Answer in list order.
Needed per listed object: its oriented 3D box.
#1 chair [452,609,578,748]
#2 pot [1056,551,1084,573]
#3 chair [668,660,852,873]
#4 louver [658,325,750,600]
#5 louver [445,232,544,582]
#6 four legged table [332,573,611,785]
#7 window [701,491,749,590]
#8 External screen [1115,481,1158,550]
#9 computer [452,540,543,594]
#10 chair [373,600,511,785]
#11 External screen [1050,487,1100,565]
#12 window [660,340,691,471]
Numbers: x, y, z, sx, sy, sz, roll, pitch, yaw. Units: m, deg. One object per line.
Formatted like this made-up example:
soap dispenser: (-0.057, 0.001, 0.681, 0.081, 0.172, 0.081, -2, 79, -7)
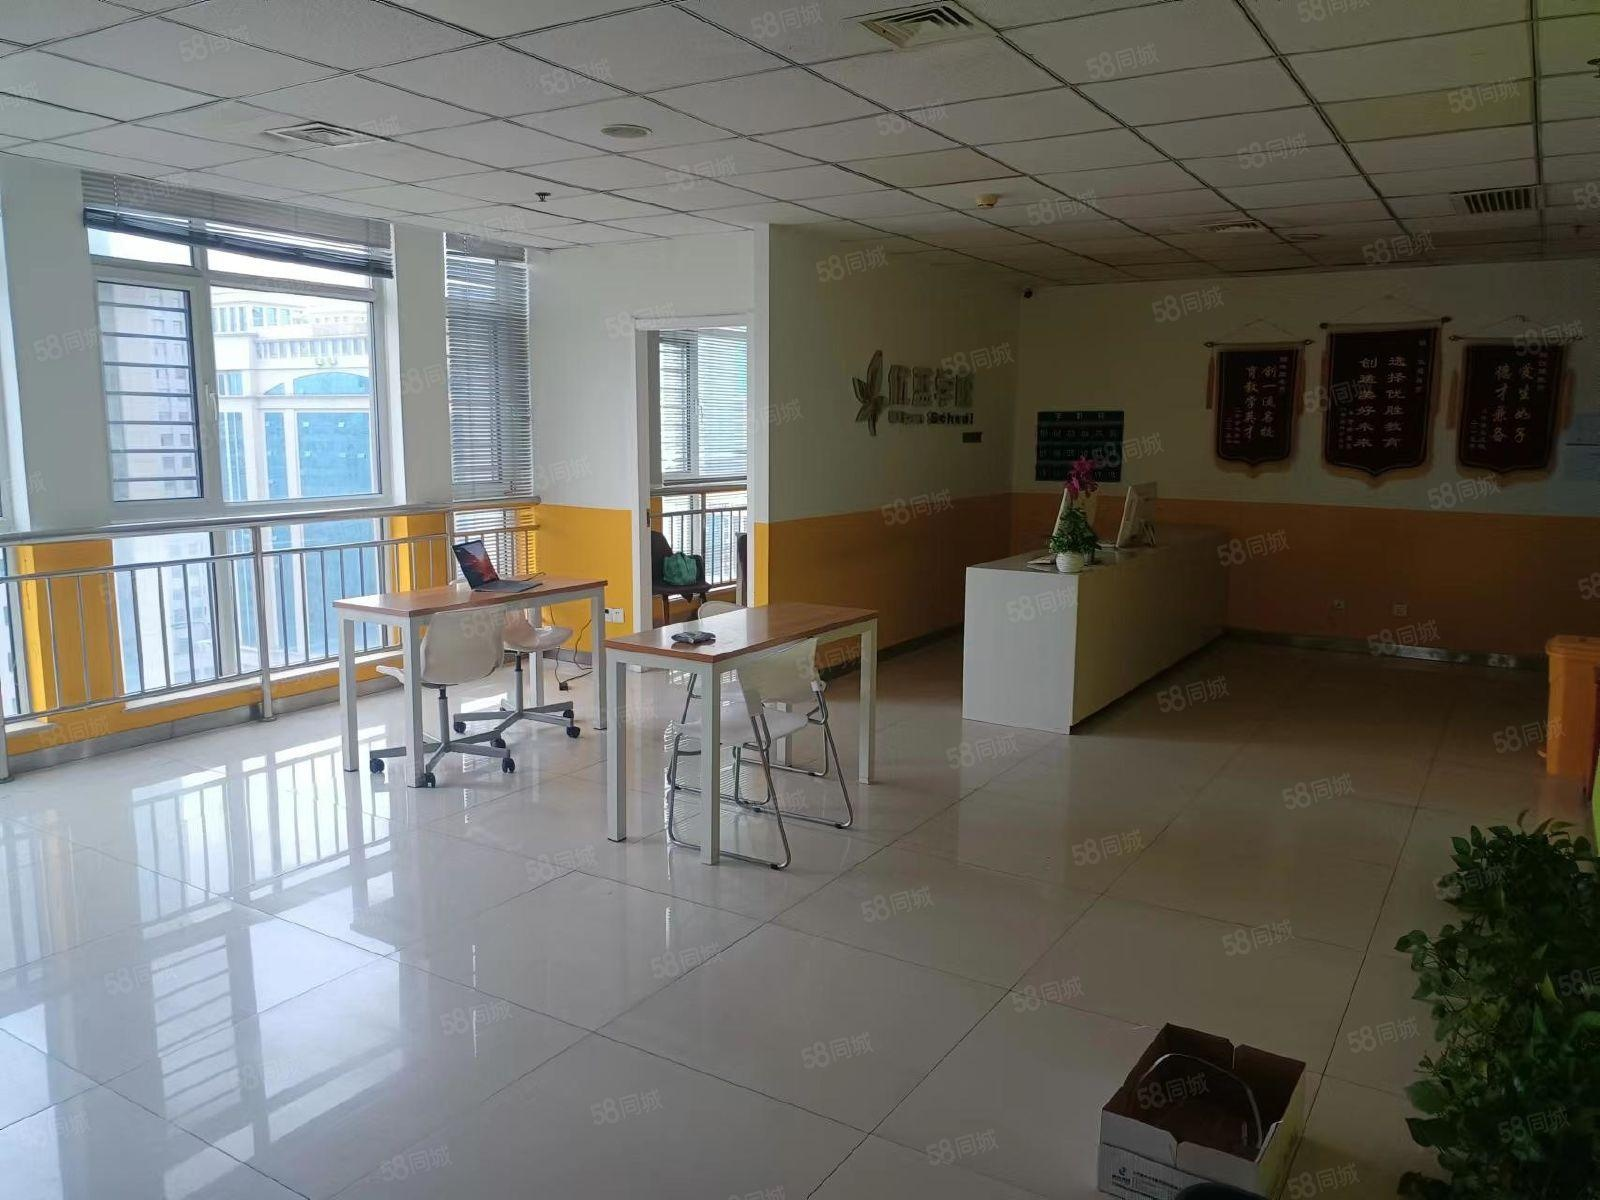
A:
chair: (-1.770, 0.375, 7.131, 0.777, 0.981, 0.725, -5, -15, -13)
pot: (1.718, -0.249, 7.110, 0.174, 0.124, 0.158, -3, 11, 1)
chair: (-0.210, 0.697, 5.460, 0.724, 0.928, 0.674, 3, 10, 29)
louver: (-0.876, -1.208, 9.938, 0.236, 2.701, 2.404, 1, 6, 15)
louver: (-2.384, -1.791, 8.703, 0.172, 1.935, 0.821, 5, 14, 37)
four legged table: (-1.898, 0.411, 6.765, 0.769, 0.996, 1.548, 6, 11, 29)
window: (-0.673, -0.522, 9.828, 0.048, 0.896, 0.885, 3, 8, 26)
External screen: (2.605, -0.653, 8.645, 0.239, 0.470, 0.675, 0, 14, 35)
computer: (-1.808, -0.182, 6.608, 0.377, 0.230, 0.370, 1, 7, 8)
chair: (-1.874, 0.475, 6.048, 0.754, 0.871, 0.716, -2, -2, 43)
External screen: (1.833, -0.526, 7.562, 0.278, 0.515, 1.102, -1, 11, 15)
window: (-1.088, -1.860, 10.354, 0.091, 1.117, 0.614, -10, 14, -41)
